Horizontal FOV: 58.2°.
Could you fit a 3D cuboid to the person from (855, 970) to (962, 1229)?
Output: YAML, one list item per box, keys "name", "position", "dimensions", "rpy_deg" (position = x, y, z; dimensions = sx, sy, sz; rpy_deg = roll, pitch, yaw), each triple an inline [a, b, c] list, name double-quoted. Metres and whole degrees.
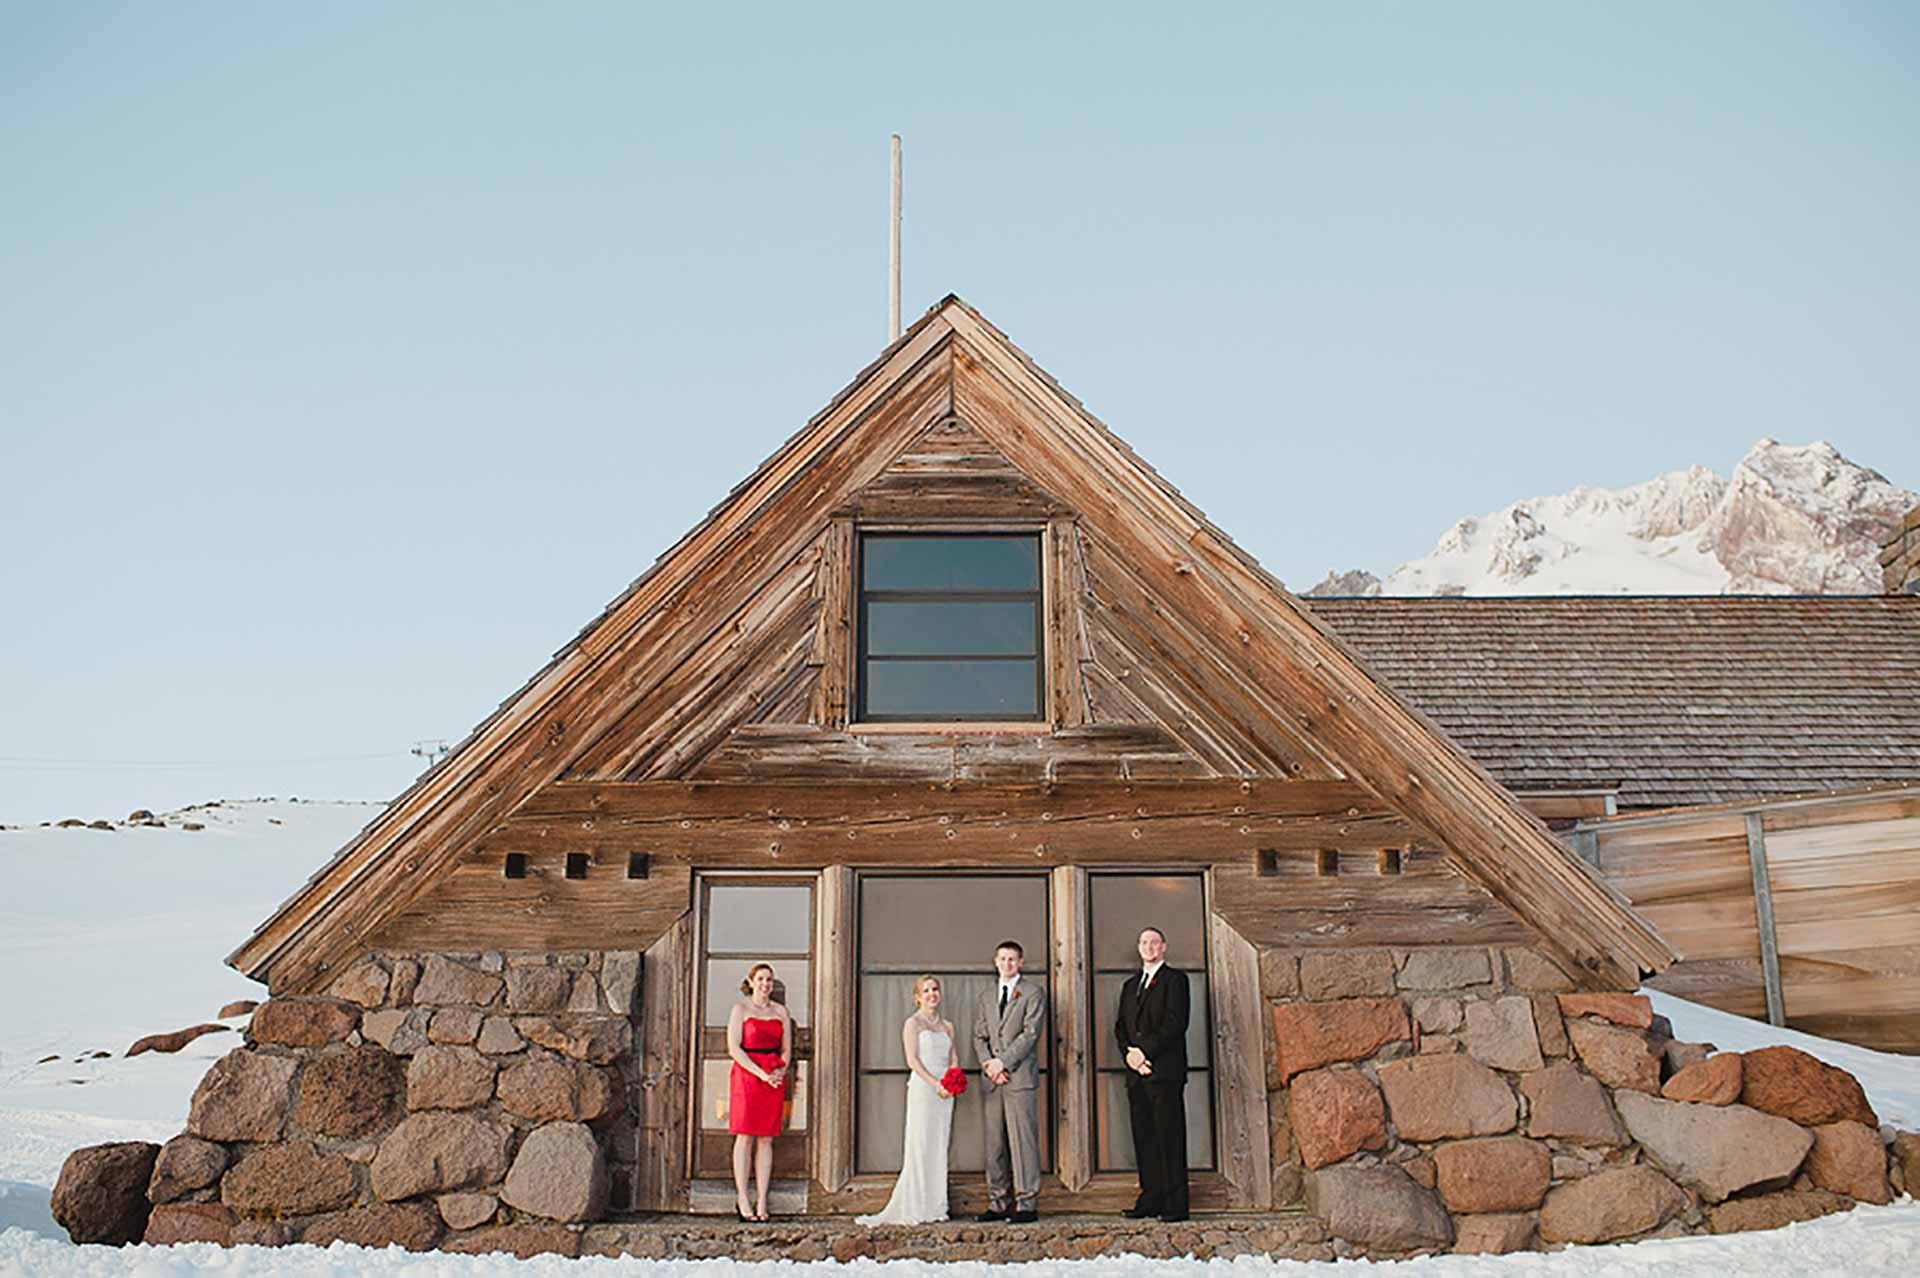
- name: "person"
  position: [-0.319, 3.854, 14.387]
  dimensions: [0.606, 1.975, 0.849]
  rpy_deg: [8, -28, -20]

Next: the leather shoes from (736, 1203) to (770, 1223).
- name: "leather shoes"
  position: [-1.679, 4.759, 14.317]
  dimensions: [0.285, 0.125, 0.125]
  rpy_deg: [2, -24, -9]
